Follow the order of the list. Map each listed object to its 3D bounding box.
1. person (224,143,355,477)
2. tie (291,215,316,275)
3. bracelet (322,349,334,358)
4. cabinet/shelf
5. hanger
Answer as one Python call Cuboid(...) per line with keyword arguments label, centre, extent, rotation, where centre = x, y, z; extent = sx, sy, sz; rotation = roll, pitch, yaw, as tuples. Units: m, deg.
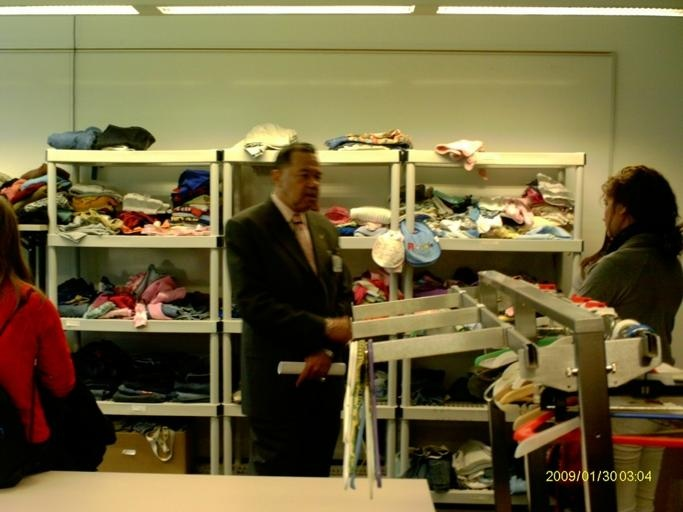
Cuboid(label="person", centre=(-0.231, 0.263, 2.980), extent=(0.634, 1.625, 0.481), rotation=(0, 3, -9))
Cuboid(label="tie", centre=(-0.192, -0.085, 3.074), extent=(0.067, 0.427, 0.053), rotation=(-10, -32, -8))
Cuboid(label="bracelet", centre=(-0.057, 0.458, 2.916), extent=(0.042, 0.026, 0.039), rotation=(12, -6, 5))
Cuboid(label="cabinet/shelf", centre=(-0.138, 0.366, 3.340), extent=(2.651, 2.180, 0.808), rotation=(0, -3, -2))
Cuboid(label="hanger", centre=(0.879, 0.415, 2.268), extent=(0.528, 0.635, 0.228), rotation=(2, -8, 32))
